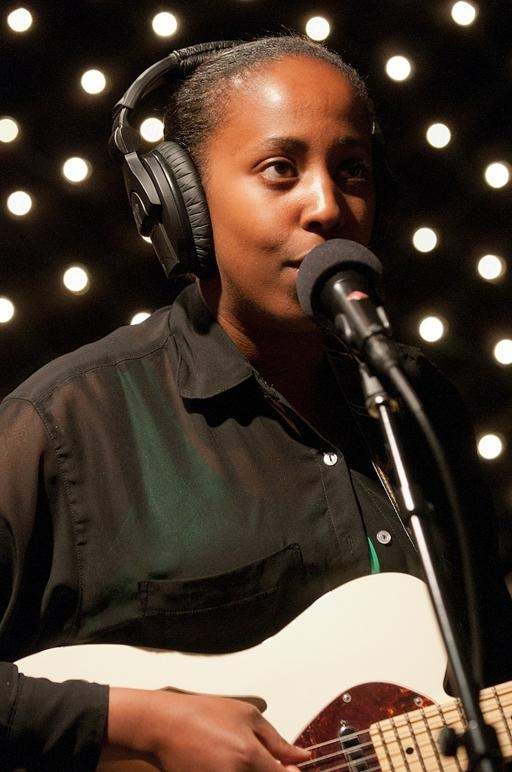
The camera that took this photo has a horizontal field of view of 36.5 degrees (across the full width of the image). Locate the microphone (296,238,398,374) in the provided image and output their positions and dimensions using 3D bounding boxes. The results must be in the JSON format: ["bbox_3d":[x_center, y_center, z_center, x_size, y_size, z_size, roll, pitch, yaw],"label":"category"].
[{"bbox_3d":[0.115,-0.101,1.024,0.082,0.195,0.101,-37,-54,10],"label":"microphone"}]
